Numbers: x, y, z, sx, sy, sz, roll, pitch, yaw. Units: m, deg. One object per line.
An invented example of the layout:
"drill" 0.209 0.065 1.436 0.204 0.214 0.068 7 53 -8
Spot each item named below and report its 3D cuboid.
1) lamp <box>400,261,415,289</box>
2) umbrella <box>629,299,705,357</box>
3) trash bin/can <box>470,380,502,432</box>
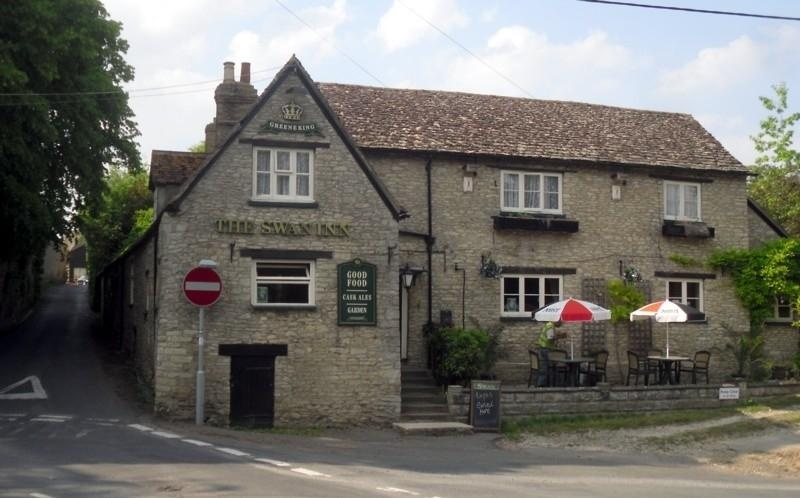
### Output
"lamp" 0.326 1.033 47.315 0.592 1.175 1.084 -1 -14 3
"umbrella" 11.282 3.429 48.418 3.220 2.642 2.971 2 -3 2
"trash bin/can" 3.505 6.119 44.650 1.419 1.925 0.763 -6 0 39
